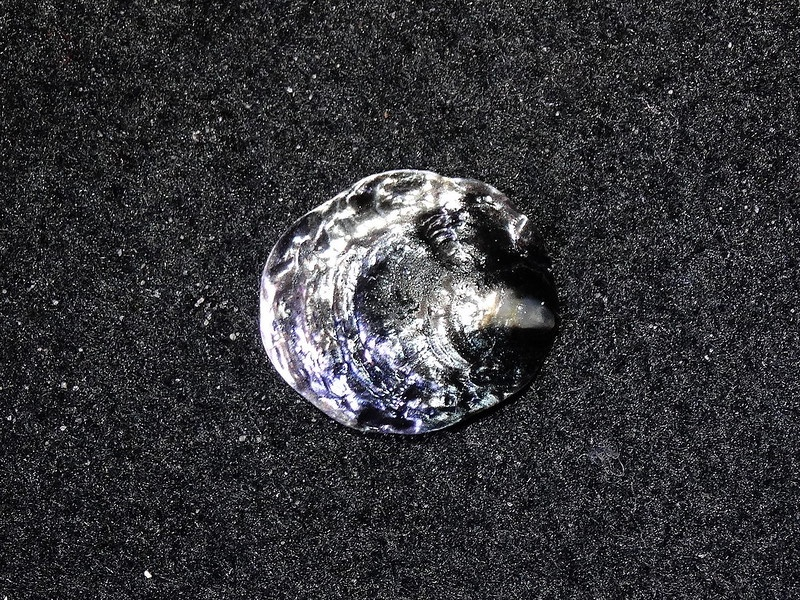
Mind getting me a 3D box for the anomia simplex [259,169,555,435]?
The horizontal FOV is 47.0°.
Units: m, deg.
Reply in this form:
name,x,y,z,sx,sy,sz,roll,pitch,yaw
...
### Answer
name,x,y,z,sx,sy,sz,roll,pitch,yaw
anomia simplex,0.016,0.000,1.814,0.554,0.170,0.482,-1,85,0
